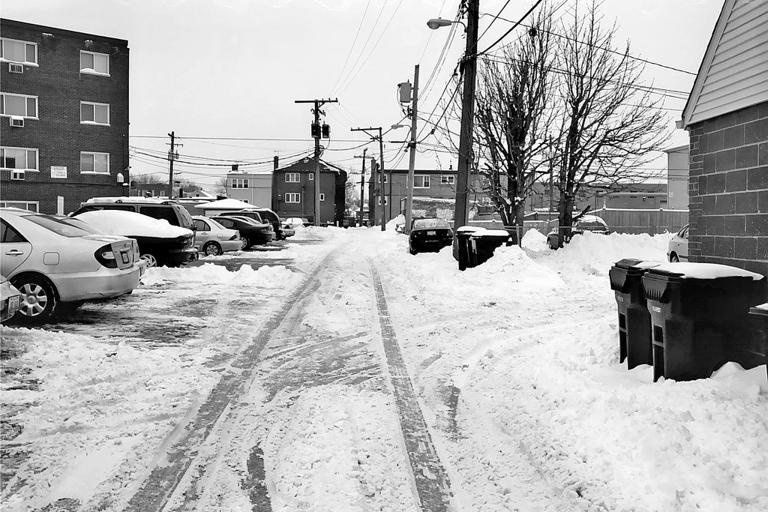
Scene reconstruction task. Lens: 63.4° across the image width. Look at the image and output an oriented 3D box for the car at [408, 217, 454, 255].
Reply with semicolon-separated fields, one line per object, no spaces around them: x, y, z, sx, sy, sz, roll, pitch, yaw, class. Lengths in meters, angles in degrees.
1.923;-0.746;25.517;1.340;1.058;3.112;-1;7;2;car
